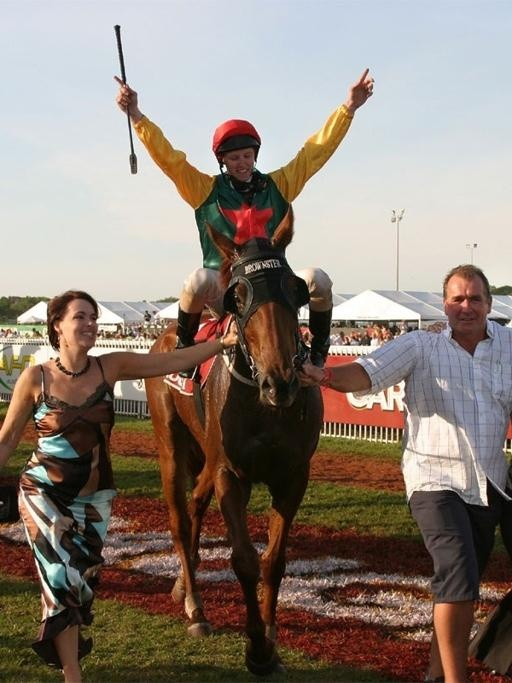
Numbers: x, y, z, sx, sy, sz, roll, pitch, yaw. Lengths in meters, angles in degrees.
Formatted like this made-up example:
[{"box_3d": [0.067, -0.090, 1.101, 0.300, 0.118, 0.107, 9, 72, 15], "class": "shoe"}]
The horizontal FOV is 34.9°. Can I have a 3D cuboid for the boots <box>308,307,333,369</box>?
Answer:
[{"box_3d": [0.336, -0.017, 4.291, 0.118, 0.345, 0.096, 9, -36, -17], "class": "boots"}]

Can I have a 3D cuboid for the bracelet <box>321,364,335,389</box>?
[{"box_3d": [0.322, 0.154, 3.613, 0.073, 0.080, 0.039, 3, -5, -11], "class": "bracelet"}]

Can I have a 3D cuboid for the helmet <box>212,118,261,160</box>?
[{"box_3d": [-0.109, -1.137, 4.494, 0.252, 0.223, 0.422, 0, 0, -1], "class": "helmet"}]
